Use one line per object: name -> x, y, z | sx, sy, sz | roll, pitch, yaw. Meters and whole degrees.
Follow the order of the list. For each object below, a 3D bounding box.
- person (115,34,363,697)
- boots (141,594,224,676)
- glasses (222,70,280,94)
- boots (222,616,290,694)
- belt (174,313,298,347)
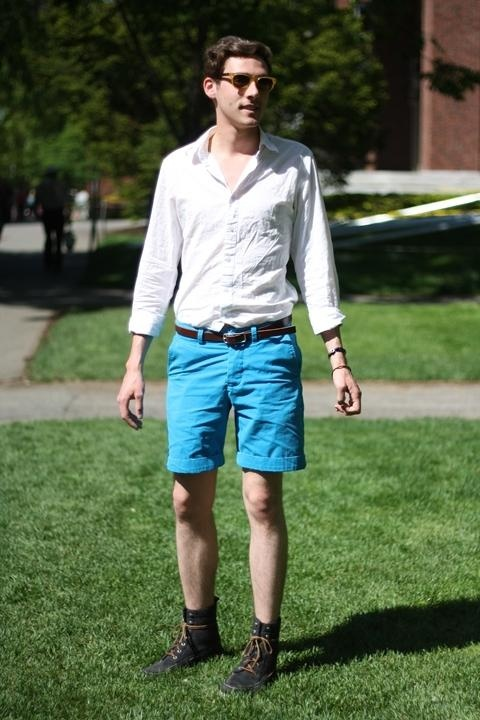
person -> -0.010, -0.001, 2.942 | 0.787, 2.024, 0.489 | 3, 11, 17
boots -> -0.222, 0.911, 3.094 | 0.358, 0.218, 0.130 | -5, 5, -28
glasses -> 0.051, -0.863, 2.915 | 0.192, 0.062, 0.103 | -6, 12, -33
boots -> 0.042, 0.933, 2.945 | 0.109, 0.181, 0.292 | 6, 5, 29
belt -> -0.016, -0.091, 2.928 | 0.374, 0.085, 0.157 | -1, 10, -3
